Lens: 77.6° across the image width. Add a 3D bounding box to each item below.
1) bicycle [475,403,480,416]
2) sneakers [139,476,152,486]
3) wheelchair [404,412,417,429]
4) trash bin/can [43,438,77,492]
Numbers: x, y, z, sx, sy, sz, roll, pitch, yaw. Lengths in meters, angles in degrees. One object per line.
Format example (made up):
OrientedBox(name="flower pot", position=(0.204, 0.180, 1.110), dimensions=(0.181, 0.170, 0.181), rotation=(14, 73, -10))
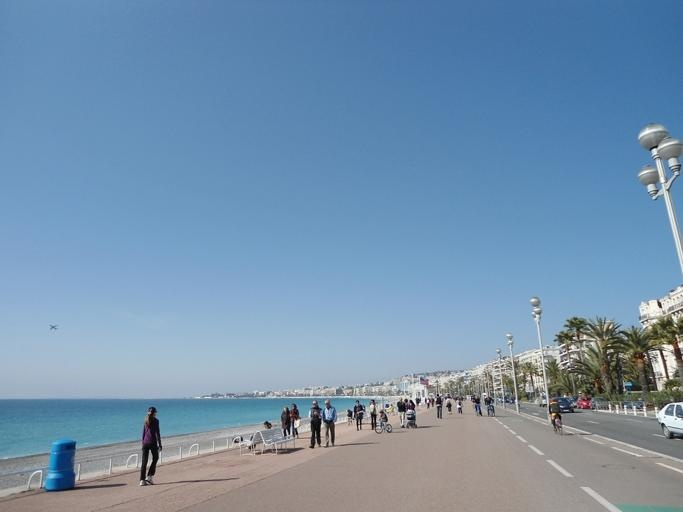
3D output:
OrientedBox(name="bicycle", position=(13.047, 14.690, 40.881), dimensions=(0.456, 1.134, 1.697), rotation=(-10, -19, 14))
OrientedBox(name="sneakers", position=(-5.997, 6.975, 13.136), dimensions=(0.165, 0.182, 0.431), rotation=(-6, -24, 14))
OrientedBox(name="wheelchair", position=(4.819, 11.553, 30.205), dimensions=(0.537, 1.130, 1.160), rotation=(-4, -19, -5))
OrientedBox(name="trash bin/can", position=(-8.614, 6.454, 13.135), dimensions=(0.747, 1.408, 0.539), rotation=(7, -22, -34))
